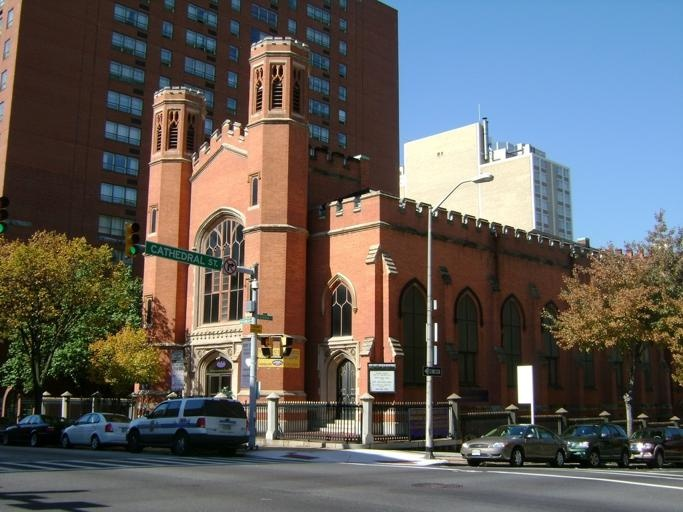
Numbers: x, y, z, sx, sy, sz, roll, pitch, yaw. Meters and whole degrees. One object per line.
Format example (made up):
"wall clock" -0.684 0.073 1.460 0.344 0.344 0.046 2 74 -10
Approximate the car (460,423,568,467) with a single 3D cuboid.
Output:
"car" 7.526 8.225 35.413 4.636 1.876 1.464 9 -19 -29

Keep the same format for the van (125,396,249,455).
"van" -7.348 7.721 36.616 6.011 2.448 2.050 -8 -18 25
